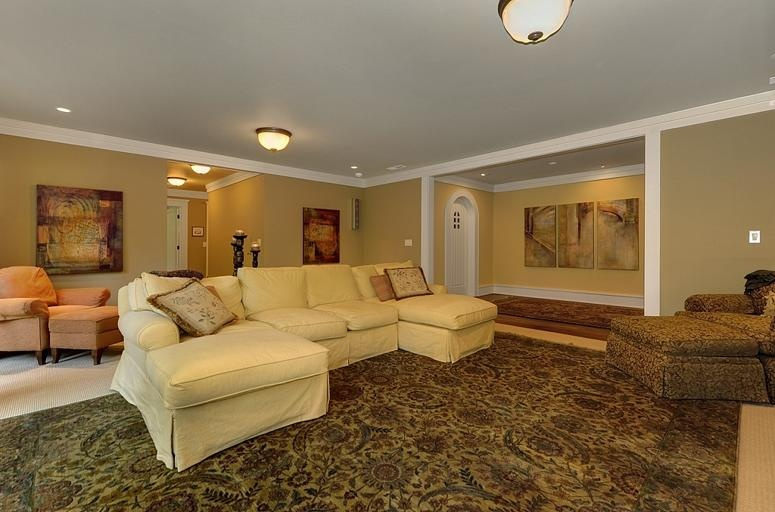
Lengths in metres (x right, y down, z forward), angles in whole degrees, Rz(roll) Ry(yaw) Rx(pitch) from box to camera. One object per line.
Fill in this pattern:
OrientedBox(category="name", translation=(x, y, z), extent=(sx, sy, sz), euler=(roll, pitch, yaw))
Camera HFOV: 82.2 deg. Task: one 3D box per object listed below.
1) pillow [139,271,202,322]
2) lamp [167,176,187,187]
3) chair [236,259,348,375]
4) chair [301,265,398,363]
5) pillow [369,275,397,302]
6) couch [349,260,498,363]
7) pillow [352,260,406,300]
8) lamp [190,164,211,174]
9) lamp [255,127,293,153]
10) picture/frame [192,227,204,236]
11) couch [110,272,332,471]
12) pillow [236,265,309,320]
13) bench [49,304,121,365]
OrientedBox(category="pillow", translation=(-2.194, 0.386, 4.446), extent=(0.405, 0.132, 0.450), euler=(18, 13, 35))
OrientedBox(category="lamp", translation=(-4.028, -1.444, 8.523), extent=(0.276, 0.102, 0.272), euler=(1, -6, -35))
OrientedBox(category="chair", translation=(-1.103, 0.606, 4.934), extent=(0.930, 1.235, 1.289), euler=(0, -1, -42))
OrientedBox(category="chair", translation=(-0.502, 0.635, 5.474), extent=(0.774, 1.044, 1.123), euler=(-4, 6, -44))
OrientedBox(category="pillow", translation=(-0.062, 0.406, 5.756), extent=(0.338, 0.305, 0.102), euler=(-8, -25, -42))
OrientedBox(category="couch", translation=(0.390, 0.657, 5.735), extent=(1.616, 0.963, 1.760), euler=(-4, 5, -33))
OrientedBox(category="pillow", translation=(-0.138, 0.205, 5.775), extent=(0.768, 0.437, 0.208), euler=(-4, -25, -39))
OrientedBox(category="lamp", translation=(-3.064, -1.435, 7.271), extent=(0.260, 0.102, 0.257), euler=(-1, -1, 2))
OrientedBox(category="lamp", translation=(-1.519, -1.566, 5.951), extent=(0.329, 0.163, 0.325), euler=(2, -9, -17))
OrientedBox(category="picture/frame", translation=(-4.518, -0.586, 10.570), extent=(0.017, 0.177, 0.214), euler=(-5, -7, 36))
OrientedBox(category="couch", translation=(-1.738, 0.816, 4.453), extent=(1.608, 1.300, 2.142), euler=(-2, 8, -37))
OrientedBox(category="pillow", translation=(-1.307, 0.391, 5.212), extent=(0.797, 0.536, 0.281), euler=(-2, 6, -34))
OrientedBox(category="bench", translation=(-3.613, 0.976, 5.191), extent=(0.512, 0.434, 0.731), euler=(3, -10, -23))
